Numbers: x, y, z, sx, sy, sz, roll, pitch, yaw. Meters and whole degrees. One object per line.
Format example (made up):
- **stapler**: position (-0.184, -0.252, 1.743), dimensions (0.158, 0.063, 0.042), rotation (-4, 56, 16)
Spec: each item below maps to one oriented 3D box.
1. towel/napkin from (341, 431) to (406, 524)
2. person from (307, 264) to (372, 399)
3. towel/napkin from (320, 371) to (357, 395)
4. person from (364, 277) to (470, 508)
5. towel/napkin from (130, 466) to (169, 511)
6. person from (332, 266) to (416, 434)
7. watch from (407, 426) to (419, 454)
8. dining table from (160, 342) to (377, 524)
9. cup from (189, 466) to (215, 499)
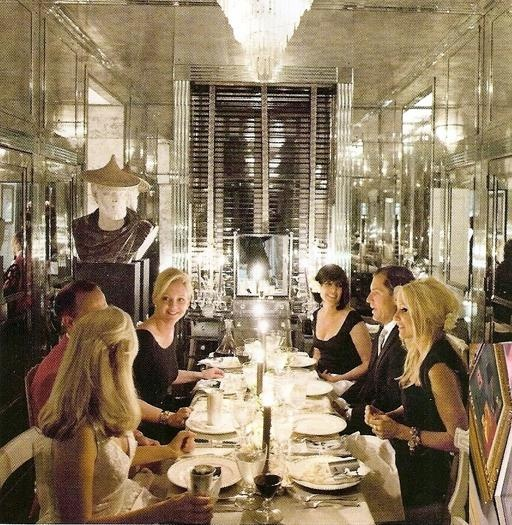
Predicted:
- **towel/napkin**: position (0.409, 0.705, 1.974), dimensions (0.151, 0.085, 0.233), rotation (0, 25, -10)
- **person**: position (0.458, 0.417, 3.725), dimensions (0.407, 0.821, 0.415), rotation (-16, 16, -40)
- **towel/napkin**: position (0.459, 0.664, 3.255), dimensions (0.153, 0.068, 0.160), rotation (2, 16, -36)
- **person**: position (0.750, 0.862, 2.817), dimensions (0.399, 1.561, 0.399), rotation (3, 12, 23)
- **towel/napkin**: position (-0.357, 0.783, 2.037), dimensions (0.114, 0.056, 0.163), rotation (-11, -1, -9)
- **person**: position (0.651, 0.516, 3.219), dimensions (0.338, 0.876, 0.417), rotation (17, -12, -30)
- **watch**: position (0.658, 0.748, 2.461), dimensions (0.029, 0.095, 0.074), rotation (-1, 6, 14)
- **dining table**: position (0.011, 0.611, 1.894), dimensions (0.553, 0.297, 0.636), rotation (0, 2, -21)
- **cup**: position (-0.157, 0.640, 1.714), dimensions (0.058, 0.084, 0.058), rotation (1, -3, 0)
